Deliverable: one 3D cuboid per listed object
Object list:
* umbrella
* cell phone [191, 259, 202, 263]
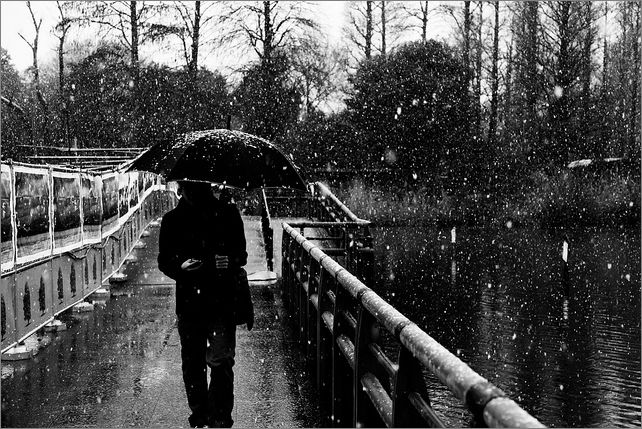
[{"bbox_3d":[-1.032,-0.631,7.716,1.825,0.615,0.950,3,5,-19],"label":"umbrella"},{"bbox_3d":[-1.256,0.474,7.229,0.073,0.032,0.094,10,7,41],"label":"cell phone"}]
